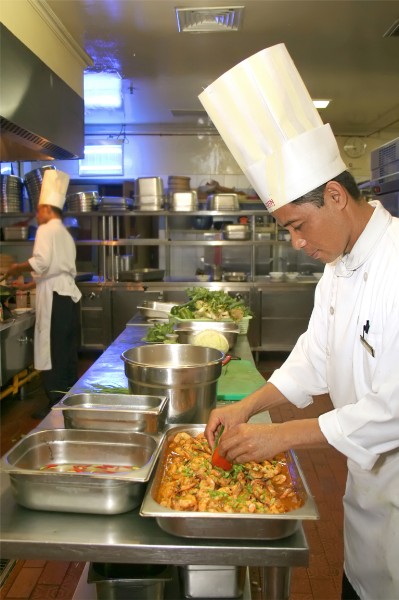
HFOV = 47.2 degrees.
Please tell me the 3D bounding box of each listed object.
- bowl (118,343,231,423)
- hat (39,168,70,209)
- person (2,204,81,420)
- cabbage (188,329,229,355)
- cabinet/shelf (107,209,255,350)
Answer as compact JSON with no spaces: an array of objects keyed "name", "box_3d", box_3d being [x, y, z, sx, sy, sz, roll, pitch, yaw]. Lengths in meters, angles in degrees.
[{"name":"bowl","box_3d":[-0.082,0.284,1.435,0.328,0.252,0.312,0,5,0]},{"name":"hat","box_3d":[-1.332,-1.021,4.177,0.194,0.401,0.313,1,5,22]},{"name":"person","box_3d":[-1.283,0.038,3.955,0.485,1.768,0.703,-3,5,-22]},{"name":"cabbage","box_3d":[0.039,0.184,2.150,0.134,0.132,0.132,4,8,-41]},{"name":"cabinet/shelf","box_3d":[-0.305,-0.246,5.806,2.004,1.749,0.734,0,5,0]}]
